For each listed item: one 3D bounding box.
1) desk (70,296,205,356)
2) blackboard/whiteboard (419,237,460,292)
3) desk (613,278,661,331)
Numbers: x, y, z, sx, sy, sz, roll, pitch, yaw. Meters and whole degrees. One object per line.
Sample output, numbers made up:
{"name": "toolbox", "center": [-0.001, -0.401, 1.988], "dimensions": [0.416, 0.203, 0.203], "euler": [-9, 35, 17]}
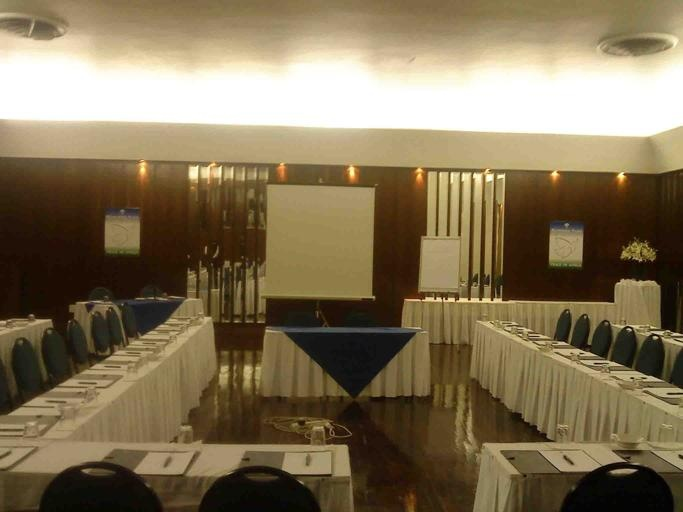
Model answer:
{"name": "desk", "center": [-3.309, 1.132, 9.849], "dimensions": [0.826, 0.639, 2.095], "euler": [-31, -19, 35]}
{"name": "blackboard/whiteboard", "center": [1.849, 0.172, 10.791], "dimensions": [0.736, 1.058, 0.475], "euler": [3, 14, 7]}
{"name": "desk", "center": [5.337, 0.882, 10.325], "dimensions": [0.630, 1.245, 0.822], "euler": [0, -5, 13]}
